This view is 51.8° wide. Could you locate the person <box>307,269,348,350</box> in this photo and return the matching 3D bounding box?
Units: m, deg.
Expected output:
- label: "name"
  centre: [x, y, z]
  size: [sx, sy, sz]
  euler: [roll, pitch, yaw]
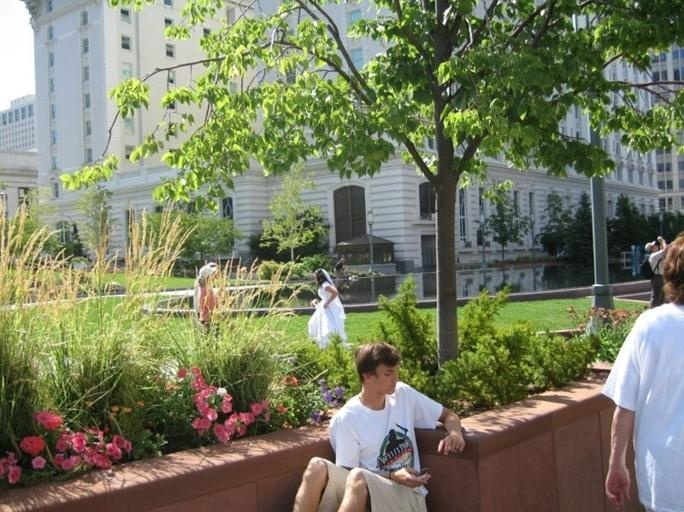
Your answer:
- label: "person"
  centre: [-0.278, 0.897, 12.469]
  size: [0.645, 1.373, 0.957]
  euler: [-1, -3, -4]
